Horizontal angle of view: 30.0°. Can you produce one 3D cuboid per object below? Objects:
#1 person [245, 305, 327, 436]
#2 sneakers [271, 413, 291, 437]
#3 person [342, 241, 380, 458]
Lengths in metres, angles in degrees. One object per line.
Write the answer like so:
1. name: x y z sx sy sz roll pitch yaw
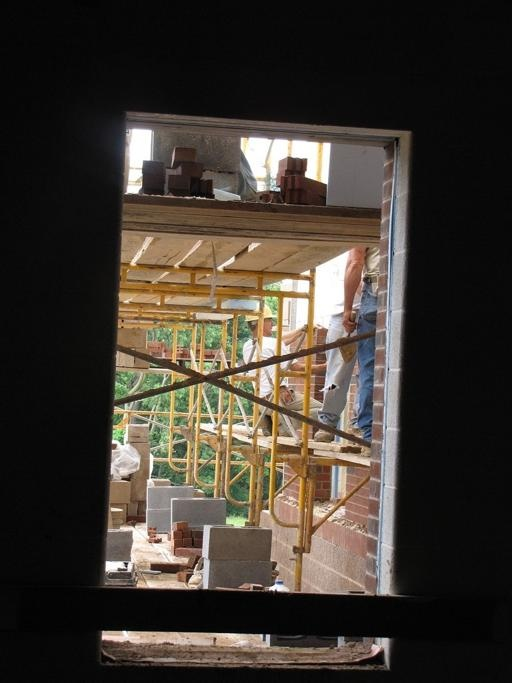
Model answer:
1. person: 0.293 0.247 8.315 0.782 1.104 0.656 -7 0 -5
2. sneakers: 0.221 0.674 7.701 0.159 0.217 0.223 1 -1 8
3. person: 0.652 0.019 6.178 0.224 1.339 0.787 3 -15 6
